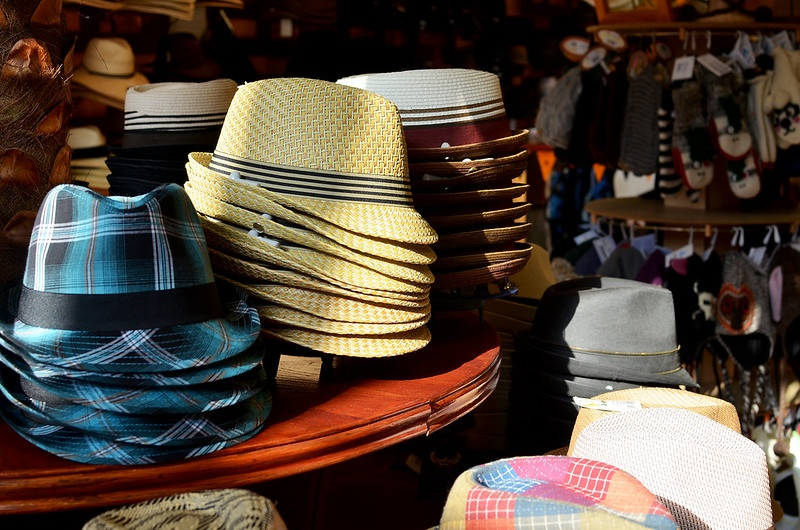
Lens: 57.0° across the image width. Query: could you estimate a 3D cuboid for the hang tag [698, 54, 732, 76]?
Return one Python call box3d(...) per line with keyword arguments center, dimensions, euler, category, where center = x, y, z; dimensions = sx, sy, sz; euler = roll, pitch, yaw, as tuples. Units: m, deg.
box3d(center=(1.707, -1.075, 3.982), dimensions=(0.141, 0.019, 0.185), euler=(-22, 48, -32), category="hang tag")
